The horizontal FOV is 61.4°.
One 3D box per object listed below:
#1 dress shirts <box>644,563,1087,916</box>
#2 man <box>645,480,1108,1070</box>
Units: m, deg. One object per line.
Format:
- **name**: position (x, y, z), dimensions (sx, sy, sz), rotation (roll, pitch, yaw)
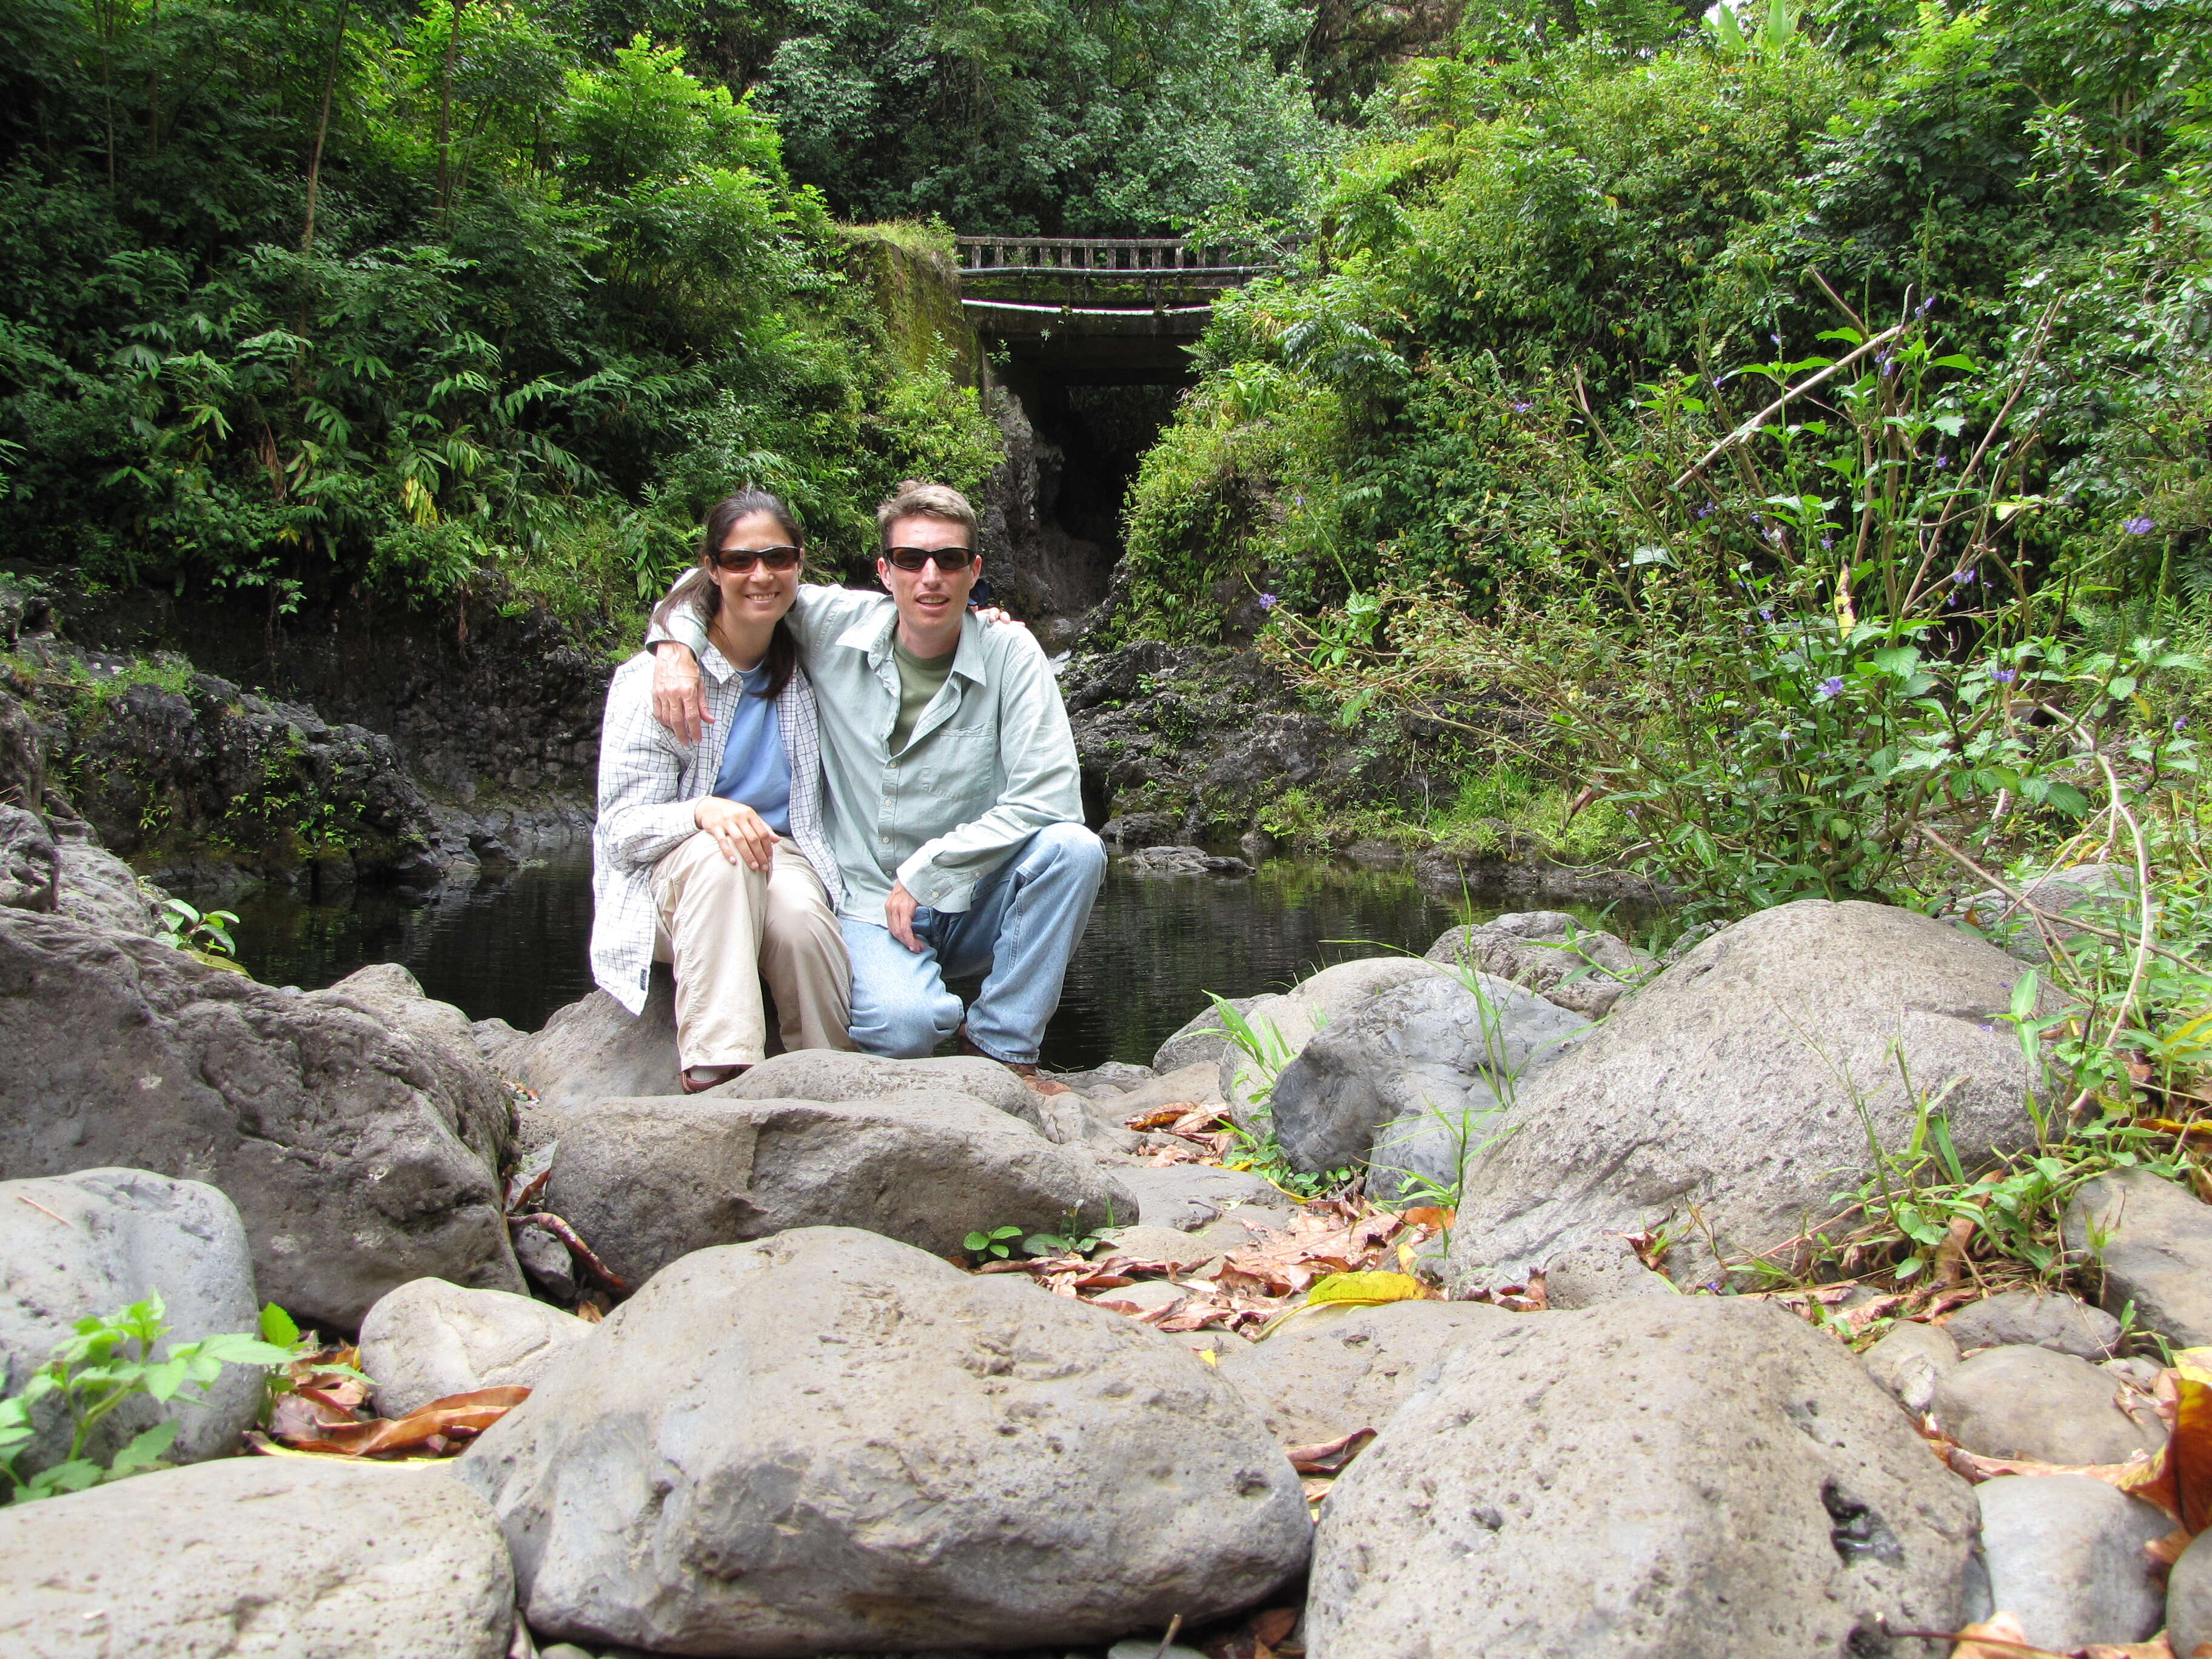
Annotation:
- **dress shirts**: position (-0.753, -0.217, 5.225), dimensions (1.382, 1.320, 0.785), rotation (-1, 6, -15)
- **man**: position (-0.623, -0.160, 5.024), dimensions (1.235, 1.536, 0.905), rotation (10, 18, 20)
